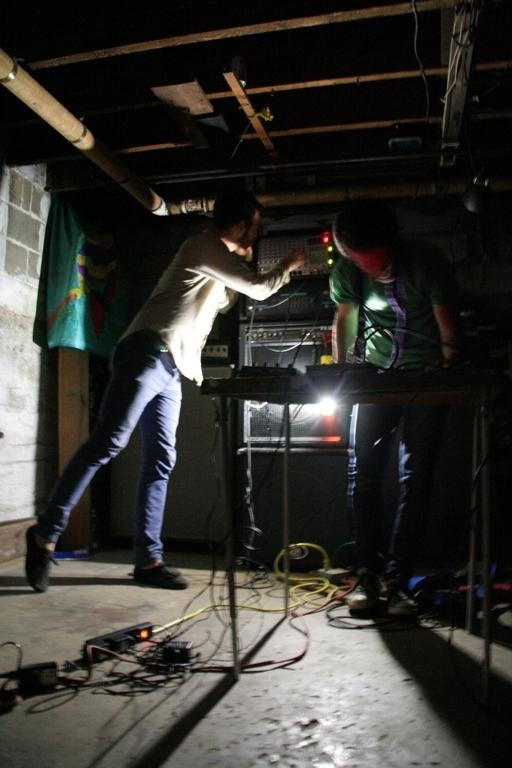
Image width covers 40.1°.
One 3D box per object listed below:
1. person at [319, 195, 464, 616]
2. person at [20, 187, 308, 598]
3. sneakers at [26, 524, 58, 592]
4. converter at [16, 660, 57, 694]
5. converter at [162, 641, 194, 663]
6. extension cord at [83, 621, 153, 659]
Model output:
[{"bbox_3d":[0.454,0.086,2.265,0.412,1.330,0.596,7,16,34],"label":"person"},{"bbox_3d":[-0.348,0.023,2.613,0.960,1.467,0.439,0,-1,-16],"label":"person"},{"bbox_3d":[-0.763,0.616,2.473,0.101,0.249,0.121,1,-1,-32],"label":"sneakers"},{"bbox_3d":[-0.496,0.671,1.588,0.085,0.065,0.030,0,-1,-18],"label":"converter"},{"bbox_3d":[-0.199,0.669,1.766,0.060,0.035,0.057,0,-3,9],"label":"converter"},{"bbox_3d":[-0.368,0.667,1.808,0.083,0.059,0.275,0,-1,22],"label":"extension cord"}]
